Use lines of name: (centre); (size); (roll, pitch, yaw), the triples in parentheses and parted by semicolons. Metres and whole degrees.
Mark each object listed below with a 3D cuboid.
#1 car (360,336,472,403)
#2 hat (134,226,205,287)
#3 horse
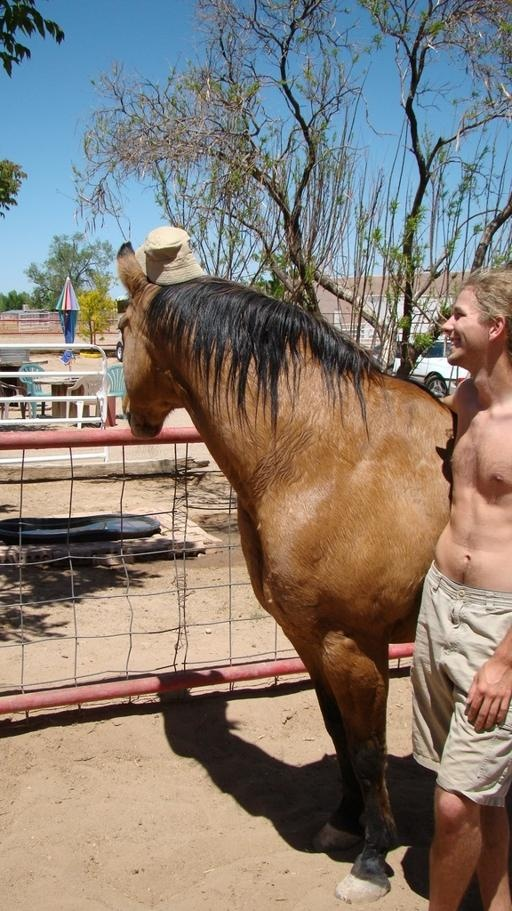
car: (3.623, -2.119, 15.629); (1.191, 1.312, 2.492); (-19, 23, -38)
hat: (-0.266, -0.612, 2.098); (0.198, 0.103, 0.261); (-18, 41, -26)
horse: (0.057, 0.317, 2.048); (0.958, 1.912, 0.441); (6, 7, 30)
